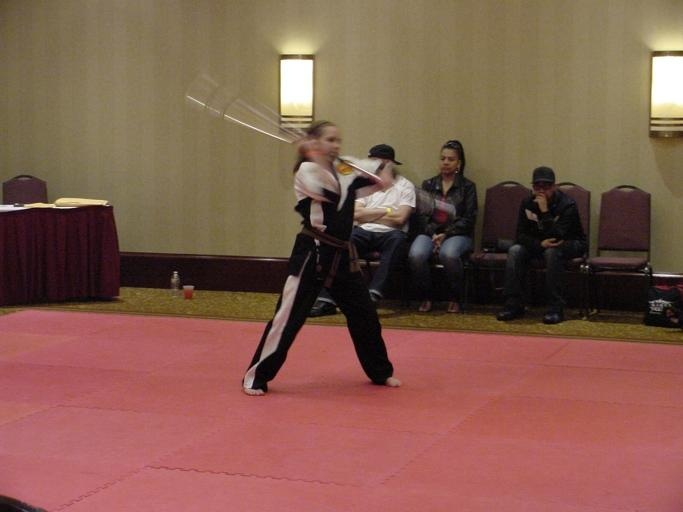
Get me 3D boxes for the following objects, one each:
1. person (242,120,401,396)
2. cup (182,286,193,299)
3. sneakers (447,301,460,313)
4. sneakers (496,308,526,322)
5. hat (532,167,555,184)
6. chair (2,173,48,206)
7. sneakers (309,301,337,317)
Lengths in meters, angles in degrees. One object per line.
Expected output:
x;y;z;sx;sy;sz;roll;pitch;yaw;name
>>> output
-0.100;0.024;3.749;0.968;1.570;0.610;-1;7;-11;person
-1.670;0.386;6.903;0.134;0.134;0.135;0;-8;0;cup
1.106;0.511;6.362;0.061;0.124;0.186;0;-11;5;sneakers
1.580;0.536;5.965;0.321;0.124;0.104;5;-9;-43;sneakers
1.873;-0.755;5.965;0.192;0.155;0.165;2;8;13;hat
-3.692;-0.752;7.569;0.378;0.640;0.417;0;-1;-14;chair
-0.173;0.500;6.082;0.107;0.136;0.326;-1;-8;31;sneakers
